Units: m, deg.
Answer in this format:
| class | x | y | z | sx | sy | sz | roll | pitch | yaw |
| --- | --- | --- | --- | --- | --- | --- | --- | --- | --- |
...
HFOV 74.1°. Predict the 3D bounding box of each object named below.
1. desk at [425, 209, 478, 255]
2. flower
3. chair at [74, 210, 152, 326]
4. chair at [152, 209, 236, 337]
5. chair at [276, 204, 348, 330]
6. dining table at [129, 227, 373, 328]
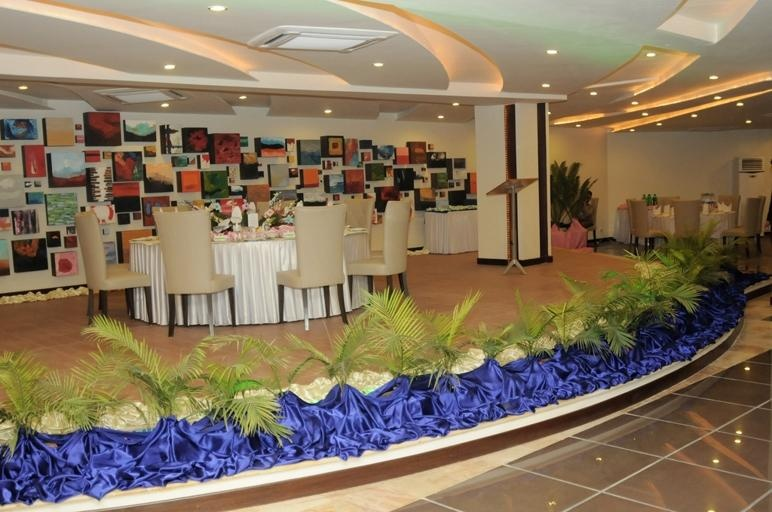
| class | x | y | z | sx | sy | sz | roll | pitch | yaw |
| --- | --- | --- | --- | --- | --- | --- | --- | --- | --- |
| desk | 1.567 | -0.690 | 11.957 | 1.712 | 0.987 | 1.031 | -7 | 11 | -42 |
| flower | -2.126 | -0.615 | 7.290 | 1.186 | 0.320 | 0.787 | -2 | -1 | -30 |
| chair | -3.473 | 0.200 | 6.544 | 0.817 | 1.179 | 0.769 | 6 | -3 | -44 |
| chair | -2.117 | 0.195 | 5.733 | 0.769 | 1.411 | 0.459 | -5 | 12 | -18 |
| chair | -0.865 | 0.137 | 5.860 | 0.835 | 1.412 | 0.469 | -3 | 12 | -8 |
| dining table | -1.823 | 0.371 | 6.274 | 1.796 | 0.538 | 1.670 | 1 | 4 | 18 |
